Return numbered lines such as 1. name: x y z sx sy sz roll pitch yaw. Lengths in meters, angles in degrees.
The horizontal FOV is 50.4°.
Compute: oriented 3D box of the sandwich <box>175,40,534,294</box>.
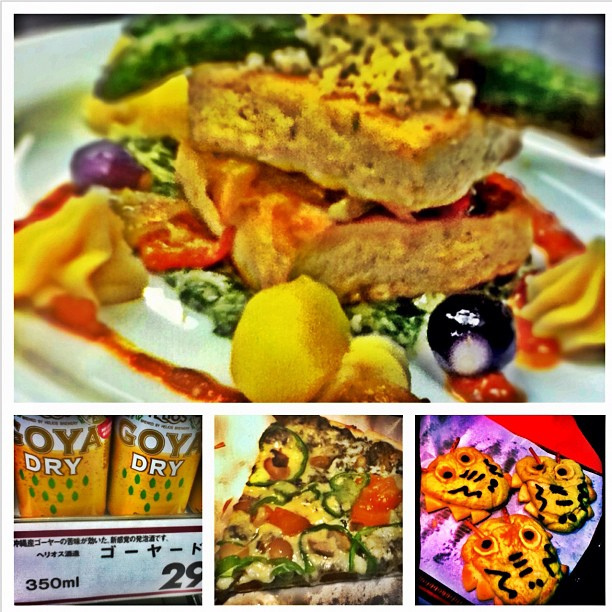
1. sandwich: 0.069 -0.251 1.174 0.660 0.462 0.285 -5 28 -10
